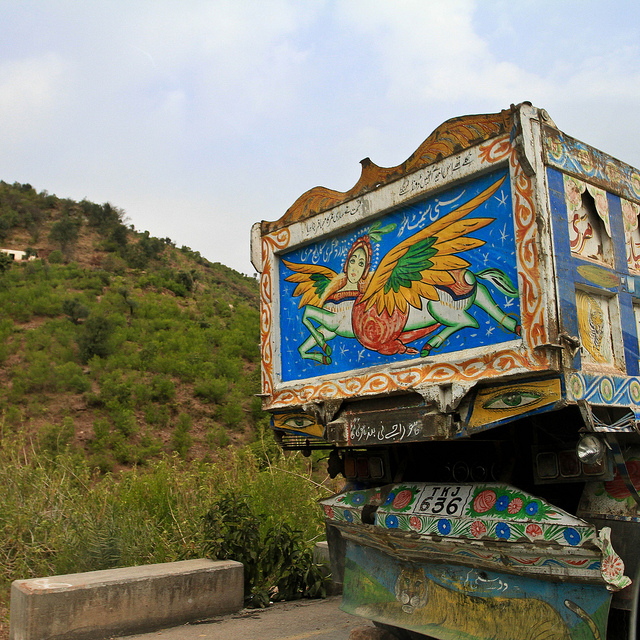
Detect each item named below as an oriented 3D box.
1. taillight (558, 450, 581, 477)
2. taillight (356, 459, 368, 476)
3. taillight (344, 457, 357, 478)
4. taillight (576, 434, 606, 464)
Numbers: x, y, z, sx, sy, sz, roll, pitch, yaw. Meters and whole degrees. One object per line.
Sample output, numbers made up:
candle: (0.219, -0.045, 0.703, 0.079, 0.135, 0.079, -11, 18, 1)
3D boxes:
taillight: (1.663, 0.941, 5.898, 0.040, 0.176, 0.165, 5, -13, -33)
taillight: (0.350, 1.205, 7.336, 0.106, 0.120, 0.026, -5, -12, 40)
taillight: (0.258, 1.217, 7.421, 0.141, 0.170, 0.017, -12, -14, 41)
taillight: (1.748, 0.815, 5.692, 0.183, 0.188, 0.106, -4, -11, 6)
